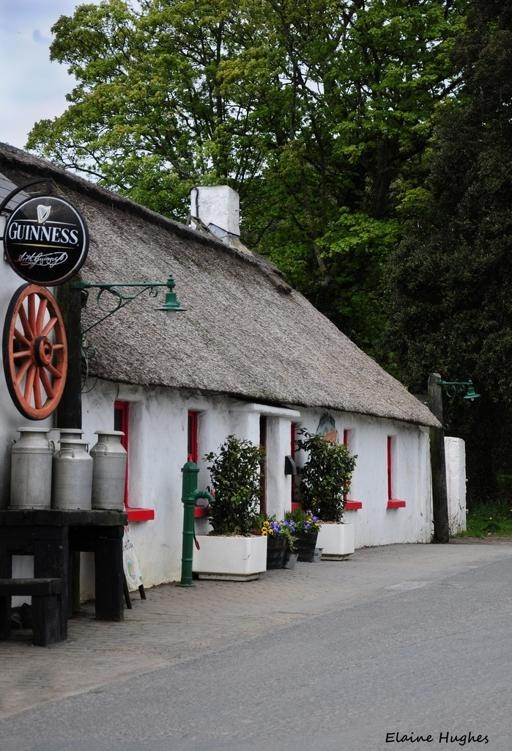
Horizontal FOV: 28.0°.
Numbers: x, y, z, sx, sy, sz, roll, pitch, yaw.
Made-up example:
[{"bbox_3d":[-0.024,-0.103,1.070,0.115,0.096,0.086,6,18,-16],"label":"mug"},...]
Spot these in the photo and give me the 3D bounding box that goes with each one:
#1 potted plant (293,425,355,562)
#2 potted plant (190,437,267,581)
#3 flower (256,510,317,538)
[{"bbox_3d":[1.037,1.753,15.347,0.892,1.980,1.262,-2,-7,3],"label":"potted plant"},{"bbox_3d":[-0.362,1.589,12.323,0.822,1.733,1.104,-2,-7,9],"label":"potted plant"},{"bbox_3d":[0.367,2.003,13.670,0.482,0.338,0.664,0,-5,-7],"label":"flower"}]
